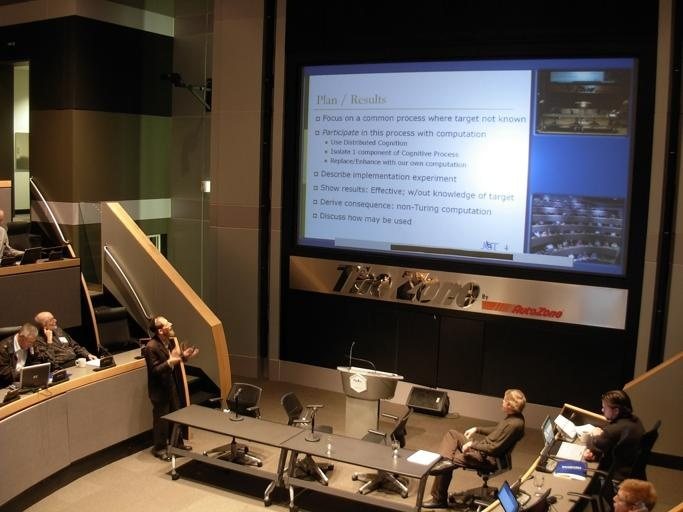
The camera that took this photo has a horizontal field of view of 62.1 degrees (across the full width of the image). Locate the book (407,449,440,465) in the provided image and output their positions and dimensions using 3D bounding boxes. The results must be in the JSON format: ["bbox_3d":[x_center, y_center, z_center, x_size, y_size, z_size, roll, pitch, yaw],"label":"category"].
[{"bbox_3d":[0.916,2.279,6.405,0.219,0.029,0.260,5,13,26],"label":"book"}]

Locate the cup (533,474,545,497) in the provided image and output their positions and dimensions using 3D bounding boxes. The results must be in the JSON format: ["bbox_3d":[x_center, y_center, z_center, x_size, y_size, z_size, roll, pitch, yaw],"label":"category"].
[{"bbox_3d":[1.971,2.270,5.658,0.094,0.231,0.092,-1,-5,0],"label":"cup"}]

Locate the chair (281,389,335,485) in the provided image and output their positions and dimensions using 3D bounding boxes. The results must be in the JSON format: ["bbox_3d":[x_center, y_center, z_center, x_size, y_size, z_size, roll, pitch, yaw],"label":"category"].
[{"bbox_3d":[-0.431,2.259,7.122,0.606,0.959,0.551,1,-1,16],"label":"chair"}]

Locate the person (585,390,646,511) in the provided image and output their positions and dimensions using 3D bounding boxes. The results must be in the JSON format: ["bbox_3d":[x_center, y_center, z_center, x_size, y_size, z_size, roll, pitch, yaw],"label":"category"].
[{"bbox_3d":[2.859,2.063,5.915,0.549,1.546,0.544,-8,-24,44],"label":"person"}]

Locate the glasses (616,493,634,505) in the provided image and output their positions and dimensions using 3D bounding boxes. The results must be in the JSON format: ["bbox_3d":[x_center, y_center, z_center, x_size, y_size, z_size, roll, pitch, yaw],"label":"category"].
[{"bbox_3d":[2.442,2.116,4.909,0.143,0.129,0.121,-21,-29,40],"label":"glasses"}]

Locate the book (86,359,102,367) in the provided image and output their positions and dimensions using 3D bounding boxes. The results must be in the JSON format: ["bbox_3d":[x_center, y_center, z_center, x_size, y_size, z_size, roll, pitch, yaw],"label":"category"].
[{"bbox_3d":[-3.212,1.387,7.355,0.127,0.032,0.124,6,11,13],"label":"book"}]

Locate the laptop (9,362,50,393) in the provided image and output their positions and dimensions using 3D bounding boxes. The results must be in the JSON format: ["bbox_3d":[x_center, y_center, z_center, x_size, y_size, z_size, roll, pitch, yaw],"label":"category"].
[{"bbox_3d":[-3.628,1.384,6.585,0.368,0.379,0.291,0,11,-46],"label":"laptop"}]

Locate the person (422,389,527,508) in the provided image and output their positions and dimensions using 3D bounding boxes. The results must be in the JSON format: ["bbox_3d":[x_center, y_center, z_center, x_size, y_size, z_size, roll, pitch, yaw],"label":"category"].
[{"bbox_3d":[1.541,2.235,6.539,1.044,1.400,0.680,1,11,-1],"label":"person"}]

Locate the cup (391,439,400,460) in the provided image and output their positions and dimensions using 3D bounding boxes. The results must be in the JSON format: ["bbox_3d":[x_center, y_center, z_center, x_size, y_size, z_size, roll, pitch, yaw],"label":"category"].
[{"bbox_3d":[0.616,2.201,6.436,0.119,0.232,0.133,0,-4,-5],"label":"cup"}]

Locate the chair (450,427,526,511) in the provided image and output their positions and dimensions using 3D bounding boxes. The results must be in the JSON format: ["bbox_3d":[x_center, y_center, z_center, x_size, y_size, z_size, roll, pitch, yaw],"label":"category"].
[{"bbox_3d":[1.736,2.533,6.964,0.787,1.165,0.915,2,-1,2],"label":"chair"}]

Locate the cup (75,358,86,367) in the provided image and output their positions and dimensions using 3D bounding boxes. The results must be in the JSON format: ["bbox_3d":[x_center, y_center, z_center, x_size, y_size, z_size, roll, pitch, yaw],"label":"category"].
[{"bbox_3d":[-3.333,1.362,7.255,0.135,0.107,0.102,-6,10,-35],"label":"cup"}]

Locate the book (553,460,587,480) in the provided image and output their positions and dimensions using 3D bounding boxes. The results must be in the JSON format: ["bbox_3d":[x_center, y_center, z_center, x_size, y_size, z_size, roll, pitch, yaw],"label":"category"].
[{"bbox_3d":[2.366,2.199,5.850,0.322,0.074,0.270,7,14,22],"label":"book"}]

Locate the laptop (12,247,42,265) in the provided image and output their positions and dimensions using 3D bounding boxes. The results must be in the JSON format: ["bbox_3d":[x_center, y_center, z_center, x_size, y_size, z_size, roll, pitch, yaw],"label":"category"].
[{"bbox_3d":[-4.360,-0.050,7.884,0.227,0.213,0.277,27,21,28],"label":"laptop"}]

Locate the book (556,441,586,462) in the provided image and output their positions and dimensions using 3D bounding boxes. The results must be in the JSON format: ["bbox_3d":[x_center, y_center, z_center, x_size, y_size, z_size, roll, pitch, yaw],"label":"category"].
[{"bbox_3d":[2.513,2.138,6.200,0.270,0.044,0.391,10,15,30],"label":"book"}]
